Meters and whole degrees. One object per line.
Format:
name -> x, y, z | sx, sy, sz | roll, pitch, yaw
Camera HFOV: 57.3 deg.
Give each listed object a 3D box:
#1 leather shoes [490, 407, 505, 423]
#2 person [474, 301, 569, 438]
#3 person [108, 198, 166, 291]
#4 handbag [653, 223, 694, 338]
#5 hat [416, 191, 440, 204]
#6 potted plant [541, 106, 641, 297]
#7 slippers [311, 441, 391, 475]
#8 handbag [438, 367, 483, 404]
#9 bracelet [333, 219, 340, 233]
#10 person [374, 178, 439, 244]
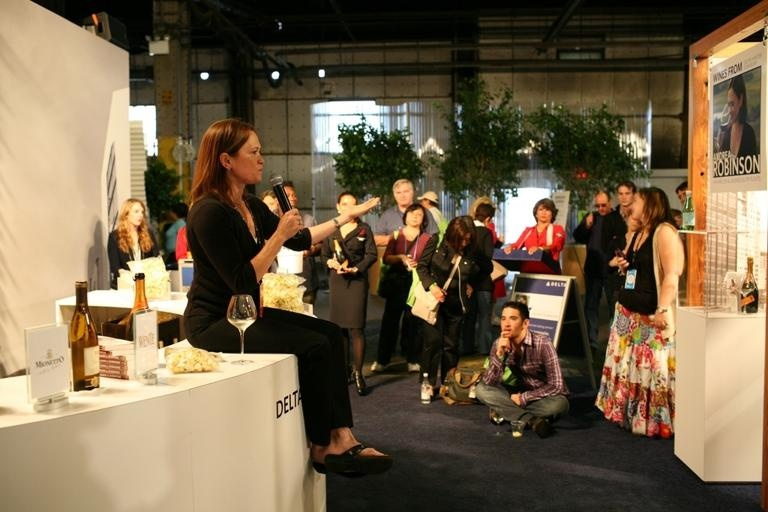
leather shoes -> 1.038, 1.449, 6.391 | 0.137, 0.151, 0.116 | -2, 4, 10
person -> 1.241, 0.979, 6.288 | 0.712, 1.113, 0.548 | 7, 11, 39
person -> -2.444, -0.112, 6.849 | 0.506, 0.887, 1.467 | -4, 10, -20
handbag -> 2.419, 0.215, 5.972 | 0.257, 0.967, 0.239 | 3, 9, 21
hat -> 0.471, -0.737, 8.777 | 0.329, 0.168, 0.252 | 5, 1, 25
potted plant -> 4.605, -2.246, 15.573 | 2.195, 3.932, 2.964 | 5, 24, 23
slippers -> -0.201, 1.264, 4.394 | 0.466, 0.187, 0.179 | -5, -7, 11
handbag -> 0.834, 1.242, 6.963 | 0.338, 0.174, 0.489 | 14, -11, 3
bracelet -> -0.325, -0.213, 4.895 | 0.047, 0.076, 0.077 | 3, -35, 1
person -> 0.248, -0.385, 8.272 | 0.799, 1.080, 0.529 | -2, -8, 11
